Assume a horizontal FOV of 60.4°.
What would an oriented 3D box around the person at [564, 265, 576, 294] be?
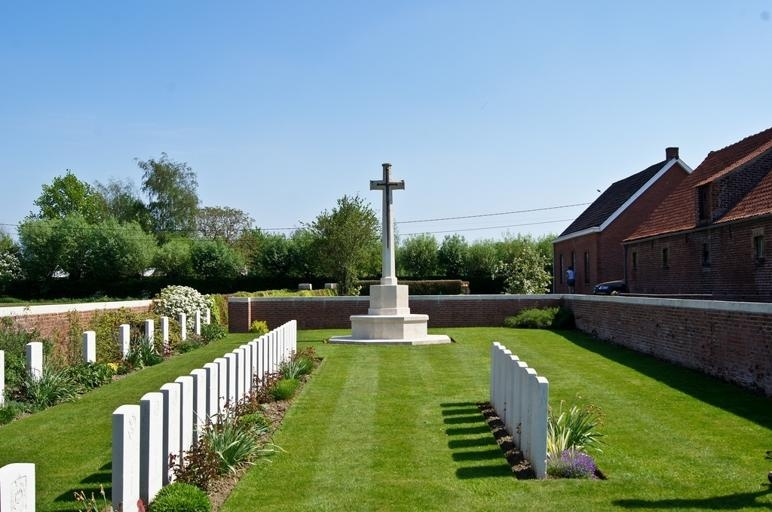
[{"bbox_3d":[10.867,1.441,38.837,0.501,1.577,2.638,1,7,17],"label":"person"}]
